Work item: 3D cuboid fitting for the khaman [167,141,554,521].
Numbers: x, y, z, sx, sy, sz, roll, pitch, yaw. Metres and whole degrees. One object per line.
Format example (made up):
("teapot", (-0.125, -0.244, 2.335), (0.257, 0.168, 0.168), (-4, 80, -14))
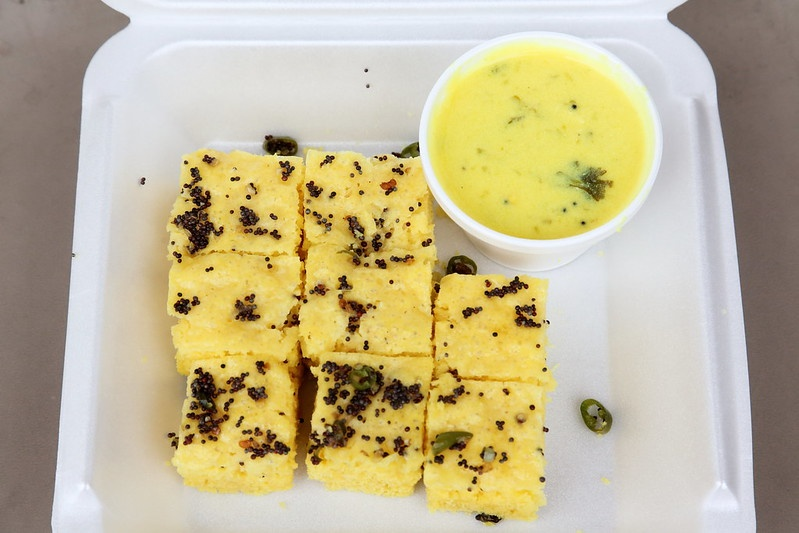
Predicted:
("khaman", (-0.308, 0.400, 6.580), (2.768, 0.416, 2.428), (7, 78, -1))

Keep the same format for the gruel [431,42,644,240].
("gruel", (0.921, -0.828, 6.306), (1.312, 0.430, 1.213), (1, 83, 2))
